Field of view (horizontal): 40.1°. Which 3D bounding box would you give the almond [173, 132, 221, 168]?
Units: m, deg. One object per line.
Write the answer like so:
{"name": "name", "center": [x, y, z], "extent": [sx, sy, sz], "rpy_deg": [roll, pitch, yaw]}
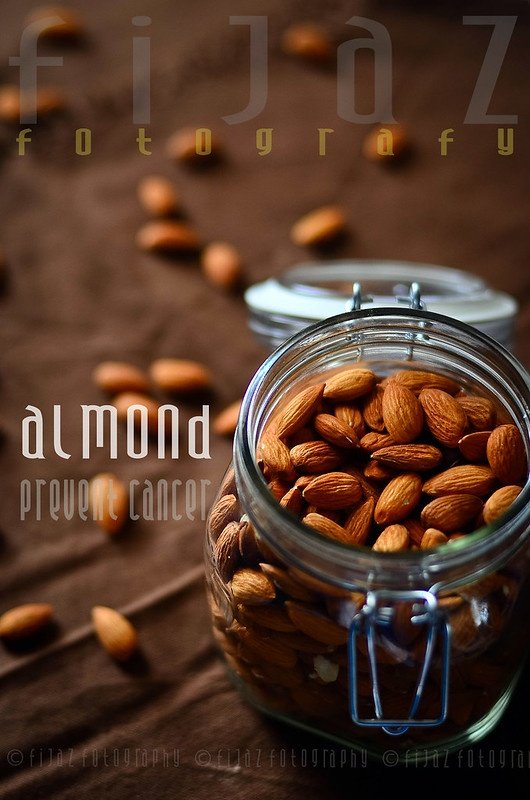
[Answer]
{"name": "almond", "center": [-0.073, -0.261, 0.758], "extent": [0.056, 0.038, 0.025], "rpy_deg": [-7, 26, -7]}

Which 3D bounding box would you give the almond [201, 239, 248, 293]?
{"name": "almond", "center": [-0.045, -0.135, 0.749], "extent": [0.038, 0.049, 0.030], "rpy_deg": [-13, -18, -39]}

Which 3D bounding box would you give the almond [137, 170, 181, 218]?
{"name": "almond", "center": [-0.111, -0.210, 0.747], "extent": [0.046, 0.045, 0.009], "rpy_deg": [-8, -8, -15]}

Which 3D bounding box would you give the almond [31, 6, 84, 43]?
{"name": "almond", "center": [-0.218, -0.397, 0.764], "extent": [0.049, 0.034, 0.011], "rpy_deg": [4, -6, -2]}

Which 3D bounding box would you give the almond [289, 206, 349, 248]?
{"name": "almond", "center": [0.054, -0.177, 0.746], "extent": [0.059, 0.034, 0.026], "rpy_deg": [-7, 26, -6]}

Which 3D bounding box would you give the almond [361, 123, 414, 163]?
{"name": "almond", "center": [0.125, -0.263, 0.745], "extent": [0.044, 0.039, 0.043], "rpy_deg": [0, -1, 8]}

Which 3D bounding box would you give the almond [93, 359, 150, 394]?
{"name": "almond", "center": [-0.142, -0.025, 0.709], "extent": [0.044, 0.022, 0.031], "rpy_deg": [7, 15, -5]}

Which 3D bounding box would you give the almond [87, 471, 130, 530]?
{"name": "almond", "center": [-0.146, 0.092, 0.665], "extent": [0.034, 0.046, 0.027], "rpy_deg": [-1, -19, -30]}
